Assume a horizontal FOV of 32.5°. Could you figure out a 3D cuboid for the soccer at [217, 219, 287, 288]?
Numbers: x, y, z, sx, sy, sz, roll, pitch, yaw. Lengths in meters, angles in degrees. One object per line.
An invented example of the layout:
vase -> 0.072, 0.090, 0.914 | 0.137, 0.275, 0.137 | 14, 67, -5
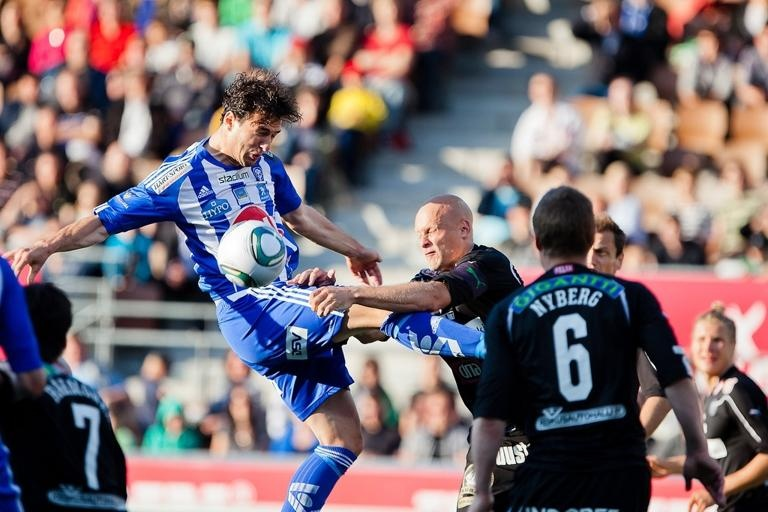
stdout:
soccer -> -1.194, -0.016, 11.884 | 0.573, 0.614, 0.566 | 1, 1, -2
